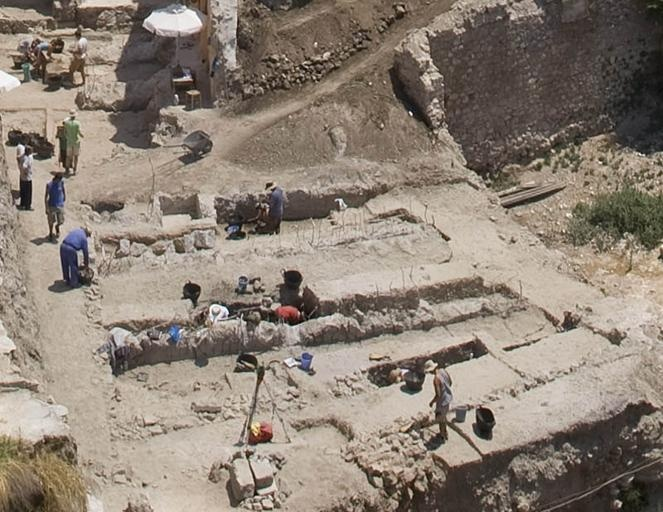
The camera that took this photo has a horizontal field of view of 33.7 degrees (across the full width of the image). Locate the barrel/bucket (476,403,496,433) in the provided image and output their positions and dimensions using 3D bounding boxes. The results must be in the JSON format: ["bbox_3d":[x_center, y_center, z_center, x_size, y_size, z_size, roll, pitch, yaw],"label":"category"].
[{"bbox_3d":[3.868,4.077,27.387,0.444,0.409,0.519,3,37,8],"label":"barrel/bucket"}]

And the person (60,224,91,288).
[{"bbox_3d":[-6.777,0.097,28.926,0.525,1.137,0.953,12,38,20],"label":"person"}]

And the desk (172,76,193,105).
[{"bbox_3d":[-4.975,-5.394,36.436,0.765,0.905,0.938,-2,42,-5],"label":"desk"}]

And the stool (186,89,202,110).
[{"bbox_3d":[-4.560,-5.058,36.255,0.479,0.682,0.566,3,28,1],"label":"stool"}]

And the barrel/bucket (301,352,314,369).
[{"bbox_3d":[-0.640,2.755,28.614,0.285,0.359,0.346,3,25,1],"label":"barrel/bucket"}]

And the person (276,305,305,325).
[{"bbox_3d":[-1.117,1.628,29.738,0.802,0.378,0.546,-6,37,-3],"label":"person"}]

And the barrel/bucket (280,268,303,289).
[{"bbox_3d":[-1.073,0.712,30.430,0.527,0.397,0.440,-2,36,1],"label":"barrel/bucket"}]

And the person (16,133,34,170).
[{"bbox_3d":[-8.846,-2.908,31.519,0.358,1.213,0.492,-19,55,-34],"label":"person"}]

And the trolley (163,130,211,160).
[{"bbox_3d":[-4.363,-3.435,34.360,1.154,0.642,0.868,-16,37,-28],"label":"trolley"}]

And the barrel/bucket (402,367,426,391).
[{"bbox_3d":[2.154,3.196,28.351,0.558,0.404,0.442,1,36,5],"label":"barrel/bucket"}]

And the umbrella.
[{"bbox_3d":[-5.354,-7.572,37.066,1.795,1.815,2.035,-3,53,-8],"label":"umbrella"}]

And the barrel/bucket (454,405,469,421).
[{"bbox_3d":[3.296,3.936,27.527,0.315,0.351,0.295,3,11,-1],"label":"barrel/bucket"}]

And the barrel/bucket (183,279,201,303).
[{"bbox_3d":[-3.782,1.024,29.690,0.382,0.543,0.546,-1,50,-8],"label":"barrel/bucket"}]

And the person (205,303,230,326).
[{"bbox_3d":[-3.022,1.595,29.231,0.577,0.357,0.956,-4,38,0],"label":"person"}]
